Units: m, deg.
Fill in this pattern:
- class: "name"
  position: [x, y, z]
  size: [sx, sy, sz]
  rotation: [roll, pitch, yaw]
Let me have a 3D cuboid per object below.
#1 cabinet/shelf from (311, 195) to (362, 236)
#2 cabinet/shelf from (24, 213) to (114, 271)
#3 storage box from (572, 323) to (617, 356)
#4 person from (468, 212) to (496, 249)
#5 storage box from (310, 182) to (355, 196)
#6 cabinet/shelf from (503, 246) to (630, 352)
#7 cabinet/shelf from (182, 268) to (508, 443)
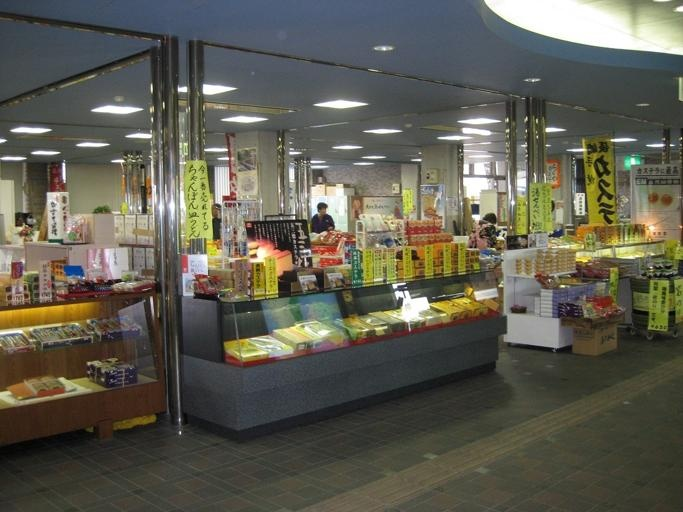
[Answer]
- class: "cabinet/shelf"
  position: [-0.468, -1.325, 17.049]
  size: [0.793, 1.467, 1.948]
  rotation: [-9, -1, 19]
- class: "cabinet/shelf"
  position: [-3.042, -0.152, 5.680]
  size: [0.920, 0.691, 0.492]
  rotation: [0, -2, 39]
- class: "storage box"
  position: [3.643, 1.142, 7.242]
  size: [0.678, 0.364, 0.380]
  rotation: [1, -5, -42]
- class: "person"
  position: [2.685, -0.475, 9.388]
  size: [0.360, 0.678, 0.539]
  rotation: [20, -9, 4]
- class: "storage box"
  position: [-0.246, -2.363, 17.790]
  size: [0.761, 0.496, 1.797]
  rotation: [-4, 5, -31]
- class: "cabinet/shelf"
  position: [3.220, 0.656, 7.362]
  size: [1.901, 0.971, 0.660]
  rotation: [-4, 3, -44]
- class: "cabinet/shelf"
  position: [0.270, 0.932, 5.807]
  size: [4.024, 1.078, 1.163]
  rotation: [-2, 2, -43]
